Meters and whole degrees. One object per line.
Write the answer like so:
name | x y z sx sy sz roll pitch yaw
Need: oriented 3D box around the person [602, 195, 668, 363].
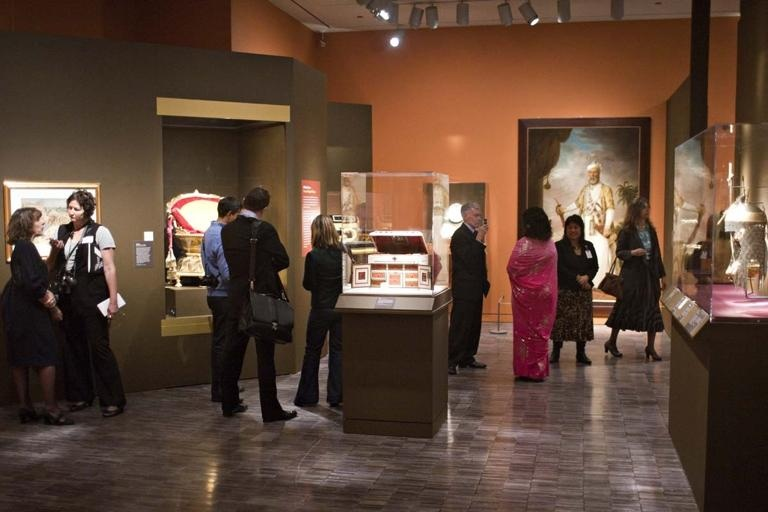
person | 3.284 0.322 8.175 0.691 2.132 0.478 3 7 24

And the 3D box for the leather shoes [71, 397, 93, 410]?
leather shoes | -3.108 1.537 6.472 0.085 0.103 0.244 3 -8 33

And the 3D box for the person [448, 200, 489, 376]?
person | 1.037 0.407 7.612 0.470 2.087 0.637 1 6 8

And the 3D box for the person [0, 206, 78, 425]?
person | -3.365 0.576 6.079 0.623 2.075 0.410 0 6 -3

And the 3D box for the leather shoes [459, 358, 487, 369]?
leather shoes | 1.145 1.366 8.024 0.330 0.152 0.144 -1 -3 0

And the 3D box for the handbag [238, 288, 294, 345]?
handbag | -1.093 0.548 5.779 0.426 0.420 0.207 14 -28 -25

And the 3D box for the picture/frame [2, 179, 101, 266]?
picture/frame | -3.366 -0.319 6.301 0.864 0.853 0.060 -1 2 -21

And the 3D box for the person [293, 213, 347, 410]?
person | -0.614 0.583 6.304 0.598 1.979 0.450 2 6 17

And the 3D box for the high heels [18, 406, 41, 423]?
high heels | -3.448 1.551 6.155 0.087 0.136 0.269 2 3 9

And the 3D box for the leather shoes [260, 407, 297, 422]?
leather shoes | -1.018 1.560 6.180 0.369 0.158 0.122 -4 6 -40

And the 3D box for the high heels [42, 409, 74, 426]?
high heels | -3.128 1.559 6.067 0.283 0.125 0.142 3 3 -11

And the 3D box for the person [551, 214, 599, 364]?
person | 2.389 0.443 7.978 0.626 1.914 0.495 -6 8 -44

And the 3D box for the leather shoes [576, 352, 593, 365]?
leather shoes | 2.636 1.333 8.127 0.219 0.174 0.100 -8 -7 43

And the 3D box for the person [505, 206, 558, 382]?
person | 1.695 0.462 7.157 0.533 2.033 0.270 1 6 11

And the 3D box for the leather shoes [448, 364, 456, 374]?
leather shoes | 0.850 1.380 7.639 0.135 0.134 0.099 -1 -2 6
